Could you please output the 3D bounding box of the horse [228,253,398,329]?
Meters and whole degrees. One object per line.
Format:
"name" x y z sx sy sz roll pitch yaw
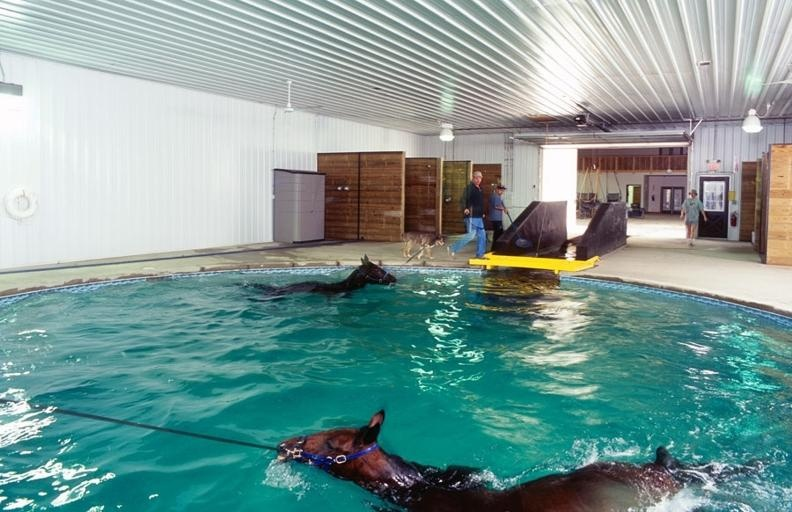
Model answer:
"horse" -1.654 0.721 9.303 2.266 1.012 0.369 -6 55 -9

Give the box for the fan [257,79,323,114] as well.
"fan" -3.249 -5.216 15.180 1.619 0.774 1.483 -6 12 -29

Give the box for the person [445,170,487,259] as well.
"person" 1.897 -1.001 12.321 0.819 2.332 1.394 2 15 5

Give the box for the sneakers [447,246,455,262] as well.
"sneakers" 1.434 -0.023 12.533 0.152 0.170 0.444 -2 -35 15

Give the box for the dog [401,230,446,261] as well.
"dog" 0.715 -0.284 12.805 1.023 0.770 2.402 1 13 1
